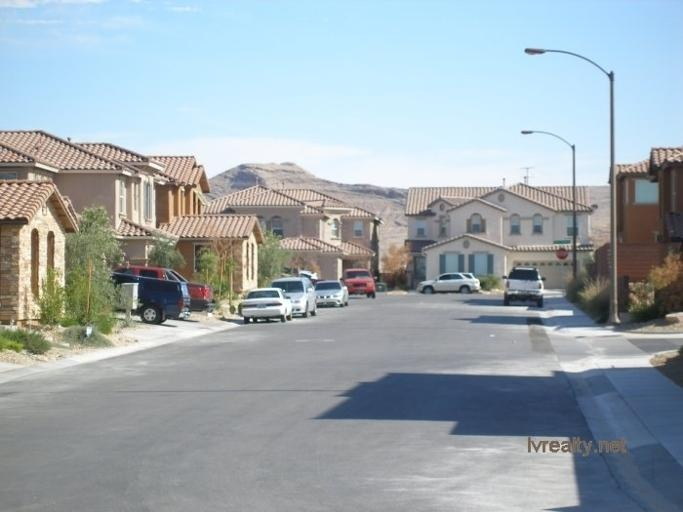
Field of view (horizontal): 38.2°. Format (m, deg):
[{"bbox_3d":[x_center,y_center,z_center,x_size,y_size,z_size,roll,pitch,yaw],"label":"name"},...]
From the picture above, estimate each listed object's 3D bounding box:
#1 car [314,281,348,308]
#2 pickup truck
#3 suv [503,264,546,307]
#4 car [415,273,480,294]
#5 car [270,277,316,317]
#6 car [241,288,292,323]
[{"bbox_3d":[-0.498,1.913,50.971,1.603,1.367,2.147,-1,-5,-1],"label":"car"},{"bbox_3d":[-6.224,1.522,34.199,3.442,1.518,1.415,0,0,13],"label":"pickup truck"},{"bbox_3d":[8.971,1.457,48.290,1.901,1.905,2.270,-1,2,12],"label":"suv"},{"bbox_3d":[7.700,2.021,70.485,3.756,1.405,1.796,1,-1,7],"label":"car"},{"bbox_3d":[-1.749,1.746,41.647,1.240,1.398,3.269,0,-1,7],"label":"car"},{"bbox_3d":[-2.877,1.899,38.112,1.867,1.364,2.043,-1,-5,-6],"label":"car"}]
